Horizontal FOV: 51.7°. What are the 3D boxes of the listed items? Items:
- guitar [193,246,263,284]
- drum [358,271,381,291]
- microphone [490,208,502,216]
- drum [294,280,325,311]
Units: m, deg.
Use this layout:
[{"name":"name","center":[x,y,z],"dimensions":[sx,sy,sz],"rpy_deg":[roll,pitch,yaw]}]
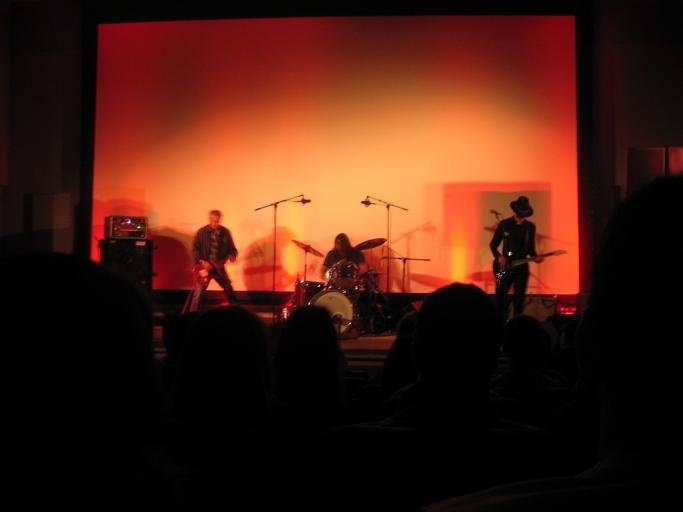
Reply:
[{"name":"guitar","center":[-1.217,0.043,7.502],"dimensions":[0.885,0.103,0.363],"rpy_deg":[1,22,27]},{"name":"drum","center":[0.272,0.229,6.618],"dimensions":[0.214,0.221,0.184],"rpy_deg":[5,-9,-18]},{"name":"microphone","center":[1.611,-0.460,7.373],"dimensions":[0.083,0.061,0.021],"rpy_deg":[42,21,32]},{"name":"drum","center":[-0.311,0.380,6.591],"dimensions":[0.300,0.347,0.306],"rpy_deg":[1,-1,1]}]
